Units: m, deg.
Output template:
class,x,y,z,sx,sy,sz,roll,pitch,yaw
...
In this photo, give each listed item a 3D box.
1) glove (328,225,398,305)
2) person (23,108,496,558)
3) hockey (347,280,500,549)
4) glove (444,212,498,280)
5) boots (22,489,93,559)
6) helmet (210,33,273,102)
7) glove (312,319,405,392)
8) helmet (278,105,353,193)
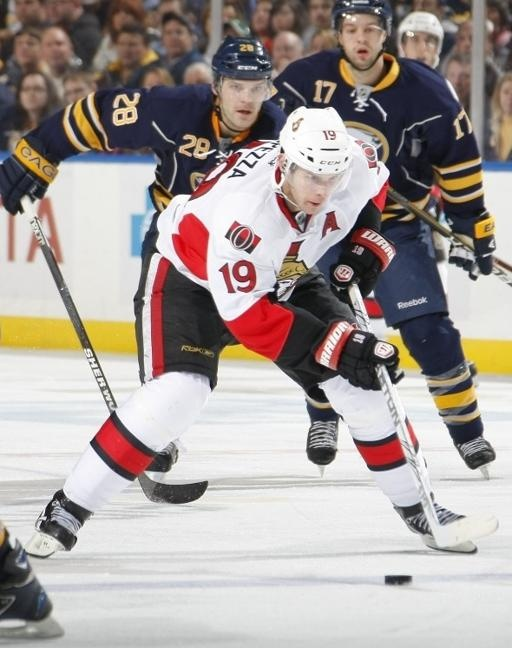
class,x,y,z,sx,sy,sz,roll,pitch,yaw
glove,0.216,-0.153,2.138,0.208,0.149,0.091,-40,28,-4
person,0.061,0.029,1.907,0.913,0.965,0.592,1,1,14
hockey,0.517,0.278,2.554,0.116,0.830,0.131,-27,1,31
glove,0.794,-0.286,3.051,0.257,0.219,0.093,12,42,29
boots,-0.432,0.428,1.840,0.099,0.074,0.221,-44,9,-4
helmet,-0.043,-0.681,2.177,0.164,0.182,0.157,1,1,14
glove,0.204,0.063,1.745,0.203,0.105,0.072,23,17,0
helmet,0.119,-0.360,1.662,0.133,0.170,0.152,1,1,-10
